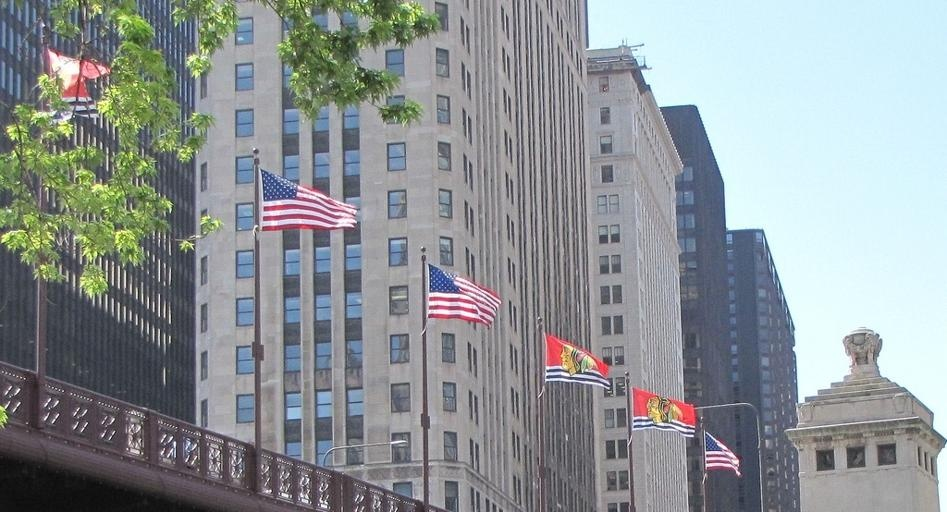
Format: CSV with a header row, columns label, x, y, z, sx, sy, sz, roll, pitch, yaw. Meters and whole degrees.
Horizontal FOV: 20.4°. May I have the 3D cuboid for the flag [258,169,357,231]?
label,x,y,z,sx,sy,sz,roll,pitch,yaw
flag,-12.652,-4.433,205.764,8.110,4.907,0.757,-1,1,-25

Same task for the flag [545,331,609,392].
label,x,y,z,sx,sy,sz,roll,pitch,yaw
flag,8.521,8.923,223.207,2.458,4.467,6.218,-20,-36,30

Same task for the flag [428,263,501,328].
label,x,y,z,sx,sy,sz,roll,pitch,yaw
flag,-0.801,3.656,227.589,6.497,4.696,1.021,21,-43,-19

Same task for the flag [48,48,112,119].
label,x,y,z,sx,sy,sz,roll,pitch,yaw
flag,-27.701,-12.736,192.828,5.722,4.805,5.422,-6,8,-23
